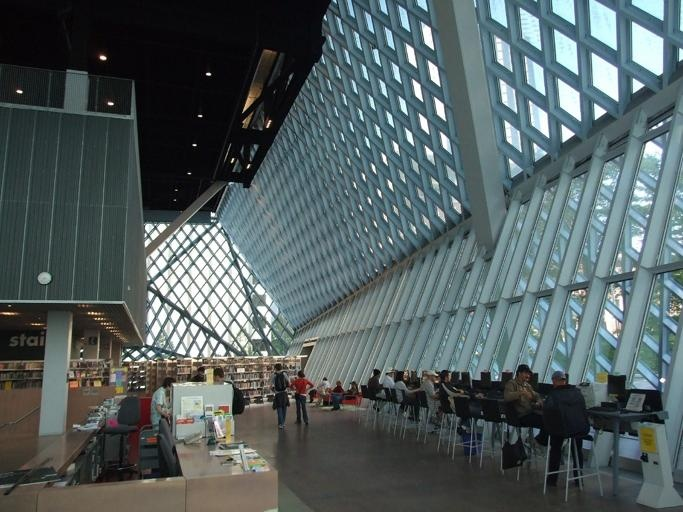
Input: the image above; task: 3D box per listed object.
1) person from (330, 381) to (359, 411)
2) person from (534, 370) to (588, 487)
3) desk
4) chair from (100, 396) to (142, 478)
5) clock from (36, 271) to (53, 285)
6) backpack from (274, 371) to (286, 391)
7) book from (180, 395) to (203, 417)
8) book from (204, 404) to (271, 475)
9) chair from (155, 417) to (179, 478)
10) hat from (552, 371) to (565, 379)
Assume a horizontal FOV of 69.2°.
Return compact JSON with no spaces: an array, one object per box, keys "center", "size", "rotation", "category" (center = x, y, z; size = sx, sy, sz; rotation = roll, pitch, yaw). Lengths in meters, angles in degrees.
[{"center":[0.119,5.454,19.366],"size":[1.029,1.101,2.902],"rotation":[1,-12,-3],"category":"person"},{"center":[3.270,2.528,7.275],"size":[0.613,1.619,0.906],"rotation":[-4,-11,23],"category":"person"},{"center":[4.074,2.804,7.088],"size":[0.773,1.155,1.123],"rotation":[1,-5,-16],"category":"desk"},{"center":[-4.540,3.616,10.169],"size":[0.721,1.435,1.533],"rotation":[5,-12,-23],"category":"chair"},{"center":[-6.055,0.457,10.090],"size":[0.230,0.264,0.057],"rotation":[8,-2,0],"category":"clock"},{"center":[-1.677,3.432,13.642],"size":[0.390,0.516,0.301],"rotation":[4,-11,-17],"category":"backpack"},{"center":[-2.010,2.003,6.573],"size":[0.234,0.281,0.036],"rotation":[1,-10,-20],"category":"book"},{"center":[-1.288,2.089,5.830],"size":[0.507,0.517,0.979],"rotation":[3,-3,-22],"category":"book"},{"center":[-1.905,2.126,5.478],"size":[0.253,0.556,0.924],"rotation":[4,-12,-19],"category":"chair"},{"center":[3.193,1.795,7.419],"size":[0.127,0.102,0.188],"rotation":[4,-27,-14],"category":"hat"}]
